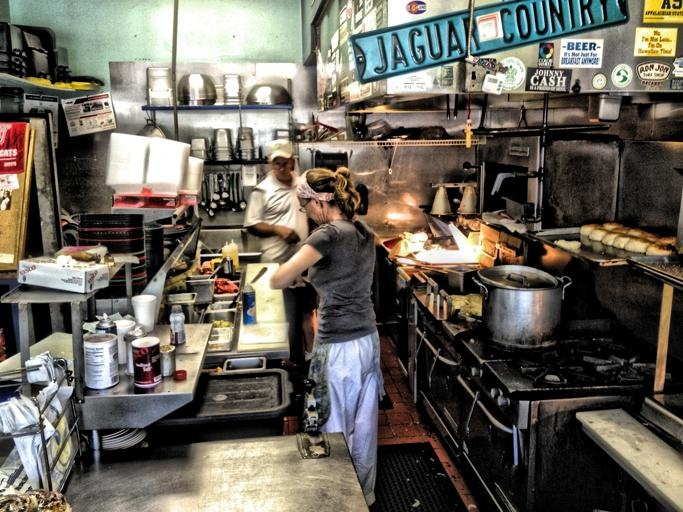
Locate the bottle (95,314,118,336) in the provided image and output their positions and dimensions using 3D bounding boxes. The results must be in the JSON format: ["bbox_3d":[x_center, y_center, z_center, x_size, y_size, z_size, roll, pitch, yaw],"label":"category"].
[{"bbox_3d":[-1.103,0.323,2.576,0.109,0.111,0.105,1,1,-31],"label":"bottle"}]

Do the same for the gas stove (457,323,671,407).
[{"bbox_3d":[1.306,0.613,3.245,1.025,0.288,0.770,-3,9,-6],"label":"gas stove"}]

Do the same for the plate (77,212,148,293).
[{"bbox_3d":[-1.326,-0.041,3.253,0.472,0.471,0.448,2,3,44],"label":"plate"}]

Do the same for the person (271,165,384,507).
[{"bbox_3d":[-0.060,0.558,3.347,0.446,2.185,0.713,4,12,30],"label":"person"}]

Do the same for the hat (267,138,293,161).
[{"bbox_3d":[-0.548,-0.951,4.872,0.224,0.188,0.269,-4,10,-7],"label":"hat"}]

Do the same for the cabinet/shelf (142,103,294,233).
[{"bbox_3d":[-1.253,-0.925,5.493,2.014,1.669,0.582,-1,2,-6],"label":"cabinet/shelf"}]

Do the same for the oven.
[{"bbox_3d":[1.781,-0.413,4.372,0.633,0.644,1.082,0,-10,16],"label":"oven"}]

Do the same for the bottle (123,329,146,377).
[{"bbox_3d":[-0.955,0.448,2.540,0.100,0.196,0.131,-10,13,-35],"label":"bottle"}]

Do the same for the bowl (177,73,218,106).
[{"bbox_3d":[-1.701,-1.955,6.419,0.422,0.278,0.400,0,8,0],"label":"bowl"}]

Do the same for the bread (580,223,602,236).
[{"bbox_3d":[1.753,-0.195,3.820,0.098,0.043,0.091,-4,10,-5],"label":"bread"}]

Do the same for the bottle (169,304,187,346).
[{"bbox_3d":[-0.869,0.350,2.870,0.076,0.212,0.174,-6,11,-17],"label":"bottle"}]

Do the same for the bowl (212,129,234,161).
[{"bbox_3d":[-1.428,-1.352,6.558,0.233,0.407,0.179,-4,11,-10],"label":"bowl"}]

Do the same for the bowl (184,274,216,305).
[{"bbox_3d":[-0.986,0.238,3.897,0.201,0.060,0.192,0,20,0],"label":"bowl"}]

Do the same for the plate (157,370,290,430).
[{"bbox_3d":[-0.538,0.742,2.820,0.420,0.112,0.267,-1,10,-7],"label":"plate"}]

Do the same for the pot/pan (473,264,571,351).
[{"bbox_3d":[1.123,0.318,3.434,0.628,0.383,0.476,-1,11,5],"label":"pot/pan"}]

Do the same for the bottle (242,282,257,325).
[{"bbox_3d":[-0.663,0.326,3.881,0.100,0.269,0.229,-5,10,-11],"label":"bottle"}]

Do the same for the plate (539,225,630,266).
[{"bbox_3d":[1.608,-0.068,3.591,0.336,0.200,0.715,-4,9,-8],"label":"plate"}]
